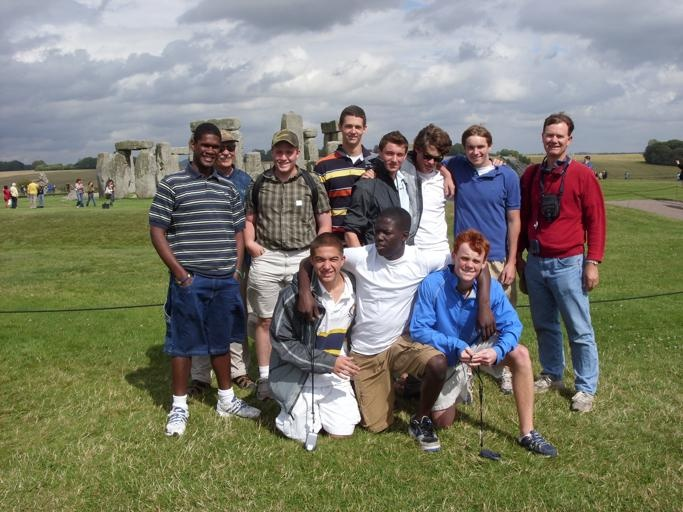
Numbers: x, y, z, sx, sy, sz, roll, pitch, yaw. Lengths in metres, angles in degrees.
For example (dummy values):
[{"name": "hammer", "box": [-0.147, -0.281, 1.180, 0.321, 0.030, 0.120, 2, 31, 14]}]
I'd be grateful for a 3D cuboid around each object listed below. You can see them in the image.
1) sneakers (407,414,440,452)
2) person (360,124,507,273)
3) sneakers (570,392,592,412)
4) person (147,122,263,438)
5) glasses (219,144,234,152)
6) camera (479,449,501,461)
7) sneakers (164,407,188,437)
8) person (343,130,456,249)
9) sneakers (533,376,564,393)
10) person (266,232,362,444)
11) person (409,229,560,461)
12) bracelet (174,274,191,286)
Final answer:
[{"name": "sneakers", "box": [0.833, 1.717, 5.380, 0.157, 0.273, 0.343, -5, 14, -19]}, {"name": "person", "box": [1.034, -0.575, 6.049, 1.542, 1.736, 0.563, -9, 3, -39]}, {"name": "sneakers", "box": [2.716, 1.595, 6.051, 0.223, 0.154, 0.316, 7, 15, 27]}, {"name": "person", "box": [-1.478, 0.175, 5.748, 1.040, 3.088, 0.906, -7, 15, -26]}, {"name": "glasses", "box": [-1.439, -1.342, 6.794, 0.163, 0.072, 0.167, -3, 3, -19]}, {"name": "camera", "box": [1.429, 1.875, 5.165, 0.201, 0.048, 0.135, 4, 14, 16]}, {"name": "sneakers", "box": [-1.737, 1.683, 5.628, 0.209, 0.191, 0.376, -2, 14, -7]}, {"name": "person", "box": [0.657, -0.728, 6.155, 1.149, 1.391, 0.737, -12, 19, -31]}, {"name": "sneakers", "box": [2.488, 1.520, 6.530, 0.382, 0.173, 0.152, 0, 3, -17]}, {"name": "person", "box": [-0.272, 0.806, 5.459, 0.947, 2.059, 0.680, -2, 13, -9]}, {"name": "person", "box": [1.381, 0.780, 5.498, 1.347, 2.073, 0.794, 4, 14, 17]}, {"name": "bracelet", "box": [-1.654, 0.230, 5.616, 0.136, 0.077, 0.109, -4, -8, 35]}]
